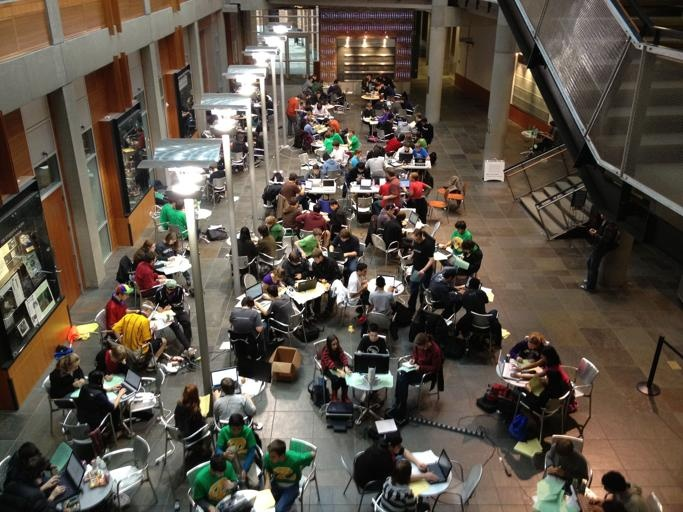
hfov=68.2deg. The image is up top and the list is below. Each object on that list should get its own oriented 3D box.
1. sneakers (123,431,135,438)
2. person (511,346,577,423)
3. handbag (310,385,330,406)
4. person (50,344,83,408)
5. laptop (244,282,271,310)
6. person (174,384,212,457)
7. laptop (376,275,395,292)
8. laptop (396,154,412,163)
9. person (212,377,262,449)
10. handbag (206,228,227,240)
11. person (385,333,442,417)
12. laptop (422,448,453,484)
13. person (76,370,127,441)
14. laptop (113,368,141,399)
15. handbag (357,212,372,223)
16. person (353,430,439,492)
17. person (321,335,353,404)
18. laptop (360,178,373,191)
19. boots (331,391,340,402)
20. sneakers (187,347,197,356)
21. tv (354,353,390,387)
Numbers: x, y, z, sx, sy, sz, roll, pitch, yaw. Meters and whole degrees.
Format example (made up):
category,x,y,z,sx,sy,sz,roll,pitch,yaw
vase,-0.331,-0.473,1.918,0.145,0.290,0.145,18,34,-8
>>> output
category,x,y,z,sx,sy,sz,roll,pitch,yaw
sneakers,-3.681,3.081,8.772,0.120,0.169,0.045,-31,9,28
person,3.589,2.234,8.914,0.772,1.474,0.680,-10,18,10
handbag,-0.422,2.550,9.561,0.300,0.409,0.408,-2,15,-6
person,-4.827,2.133,8.843,0.548,1.014,0.434,9,44,-10
laptop,-1.745,0.736,10.717,0.482,0.388,0.616,28,39,26
person,-2.322,2.686,8.166,0.668,1.317,0.439,-8,17,-42
laptop,0.916,0.605,10.663,0.317,0.392,0.413,8,45,15
laptop,2.130,-3.206,16.777,0.379,0.300,0.265,0,0,-7
person,-1.685,2.491,8.049,0.762,0.988,1.631,-6,-16,0
handbag,-3.688,-0.612,14.946,0.383,0.164,0.392,-4,15,-17
person,1.343,2.126,9.164,1.109,1.544,0.502,-12,27,-26
laptop,1.434,3.149,7.477,0.346,0.305,0.492,-5,18,-2
person,-3.948,2.450,8.389,0.498,1.207,0.705,17,20,35
laptop,-3.687,2.276,8.813,0.399,0.301,0.338,33,38,8
handbag,0.701,-1.180,16.070,0.468,0.376,0.269,0,18,-1
person,0.858,3.160,7.510,1.026,1.514,0.626,3,34,8
person,-0.117,2.070,9.219,0.574,1.333,0.409,9,25,18
laptop,0.767,-2.143,15.505,0.386,0.346,0.384,1,-10,2
boots,-0.112,2.625,9.517,0.123,0.215,0.207,1,18,2
sneakers,-3.064,1.977,10.473,0.222,0.077,0.151,-25,7,-28
tv,0.508,1.888,8.592,0.647,0.366,0.485,1,-6,2
